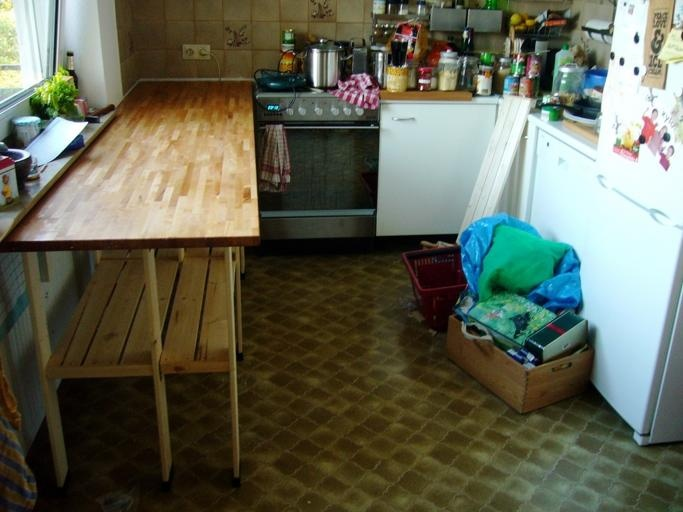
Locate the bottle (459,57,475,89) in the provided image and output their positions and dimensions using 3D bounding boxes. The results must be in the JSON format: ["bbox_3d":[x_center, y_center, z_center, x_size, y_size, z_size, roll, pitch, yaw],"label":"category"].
[{"bbox_3d":[0.878,-1.300,3.739,0.102,0.225,0.073,3,24,12],"label":"bottle"}]

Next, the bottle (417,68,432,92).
[{"bbox_3d":[0.558,-1.231,3.704,0.135,0.151,0.140,-2,28,-1],"label":"bottle"}]

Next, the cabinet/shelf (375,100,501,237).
[{"bbox_3d":[0.537,-0.779,4.106,0.907,1.342,0.885,-2,36,-1],"label":"cabinet/shelf"}]

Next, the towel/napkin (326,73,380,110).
[{"bbox_3d":[0.108,-1.120,3.590,0.255,0.075,0.271,29,54,18],"label":"towel/napkin"}]

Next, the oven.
[{"bbox_3d":[-0.135,-0.675,4.003,0.983,0.732,0.584,2,12,22],"label":"oven"}]

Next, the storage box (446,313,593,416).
[{"bbox_3d":[0.938,0.549,2.665,0.425,0.264,0.605,-17,33,-23],"label":"storage box"}]

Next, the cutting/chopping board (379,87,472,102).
[{"bbox_3d":[0.585,-1.110,3.647,0.656,0.091,0.046,-4,23,-4],"label":"cutting/chopping board"}]

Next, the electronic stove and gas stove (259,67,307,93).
[{"bbox_3d":[-0.414,-1.221,3.663,0.341,0.129,0.276,0,24,4],"label":"electronic stove and gas stove"}]

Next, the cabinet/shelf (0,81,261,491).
[{"bbox_3d":[-0.844,0.019,2.682,0.900,1.263,1.746,-5,24,-7],"label":"cabinet/shelf"}]

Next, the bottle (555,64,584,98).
[{"bbox_3d":[1.368,-1.050,3.156,0.126,0.173,0.258,-2,24,0],"label":"bottle"}]

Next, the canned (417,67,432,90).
[{"bbox_3d":[0.558,-1.259,3.741,0.142,0.160,0.148,4,26,6],"label":"canned"}]

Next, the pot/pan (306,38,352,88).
[{"bbox_3d":[-0.079,-1.308,3.773,0.373,0.356,0.379,1,33,0],"label":"pot/pan"}]

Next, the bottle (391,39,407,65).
[{"bbox_3d":[0.386,-1.381,3.595,0.104,0.167,0.076,1,23,6],"label":"bottle"}]

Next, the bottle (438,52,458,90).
[{"bbox_3d":[0.704,-1.318,3.727,0.189,0.292,0.194,1,19,0],"label":"bottle"}]

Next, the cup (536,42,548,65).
[{"bbox_3d":[1.382,-1.416,3.678,0.094,0.149,0.435,6,25,19],"label":"cup"}]

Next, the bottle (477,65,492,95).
[{"bbox_3d":[0.994,-1.236,3.711,0.111,0.191,0.125,7,25,21],"label":"bottle"}]

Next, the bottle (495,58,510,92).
[{"bbox_3d":[1.123,-1.276,3.721,0.105,0.237,0.096,-2,23,1],"label":"bottle"}]
